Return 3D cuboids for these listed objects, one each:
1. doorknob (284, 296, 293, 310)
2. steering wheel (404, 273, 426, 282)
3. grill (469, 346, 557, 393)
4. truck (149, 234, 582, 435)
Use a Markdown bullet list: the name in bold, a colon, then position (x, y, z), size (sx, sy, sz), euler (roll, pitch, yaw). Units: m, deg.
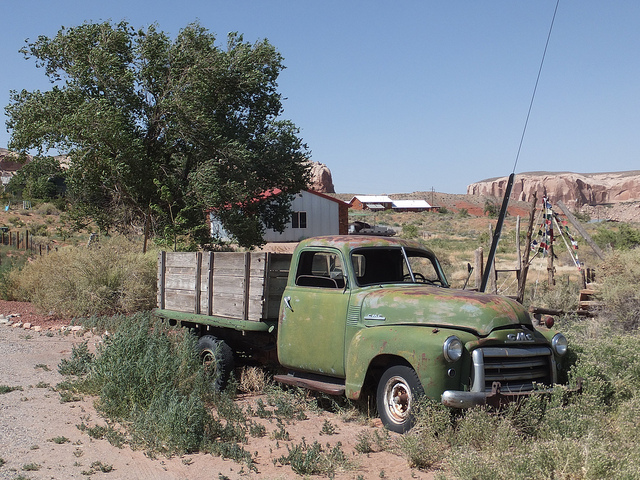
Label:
- **doorknob**: position (-0.485, 0.983, 8.016), size (0.070, 0.187, 0.047), euler (-25, -4, 21)
- **steering wheel**: position (1.479, 0.571, 8.031), size (0.324, 0.134, 0.334), euler (2, -3, 0)
- **grill**: position (2.456, 1.624, 6.514), size (1.402, 0.568, 0.231), euler (4, -3, -30)
- **truck**: position (0.102, 1.271, 8.339), size (2.451, 2.335, 6.157), euler (3, -3, -42)
